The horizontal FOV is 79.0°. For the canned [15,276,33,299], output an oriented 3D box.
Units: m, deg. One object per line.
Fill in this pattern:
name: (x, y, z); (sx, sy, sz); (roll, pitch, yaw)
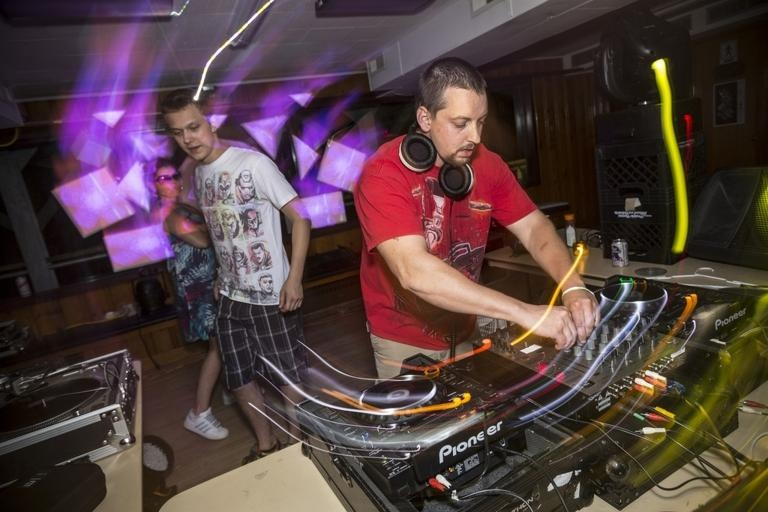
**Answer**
canned: (-3.350, 0.283, 4.355); (0.106, 0.194, 0.110); (-17, 18, -38)

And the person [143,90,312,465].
person: (-0.772, 0.091, 3.049); (0.790, 2.428, 0.796); (-14, 12, -38)

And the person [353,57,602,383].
person: (0.327, -0.056, 2.007); (0.855, 1.693, 0.753); (-3, 12, -20)

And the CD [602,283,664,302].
CD: (1.035, 0.152, 1.951); (0.122, 0.024, 0.118); (-14, 9, -40)
